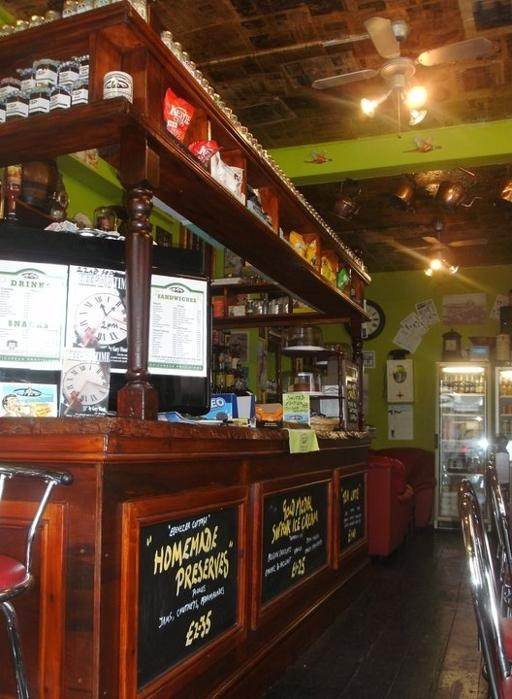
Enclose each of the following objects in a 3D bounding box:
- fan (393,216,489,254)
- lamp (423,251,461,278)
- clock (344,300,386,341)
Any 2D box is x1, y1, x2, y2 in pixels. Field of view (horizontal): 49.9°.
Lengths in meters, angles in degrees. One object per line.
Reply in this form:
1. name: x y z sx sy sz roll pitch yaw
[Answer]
1. fan: 2.382 -1.444 7.104 0.591 0.264 0.668 5 -5 17
2. lamp: 2.534 -1.131 7.556 0.531 0.524 0.161 3 -11 -26
3. clock: 1.359 -0.340 6.650 0.595 0.598 0.078 6 -10 4
